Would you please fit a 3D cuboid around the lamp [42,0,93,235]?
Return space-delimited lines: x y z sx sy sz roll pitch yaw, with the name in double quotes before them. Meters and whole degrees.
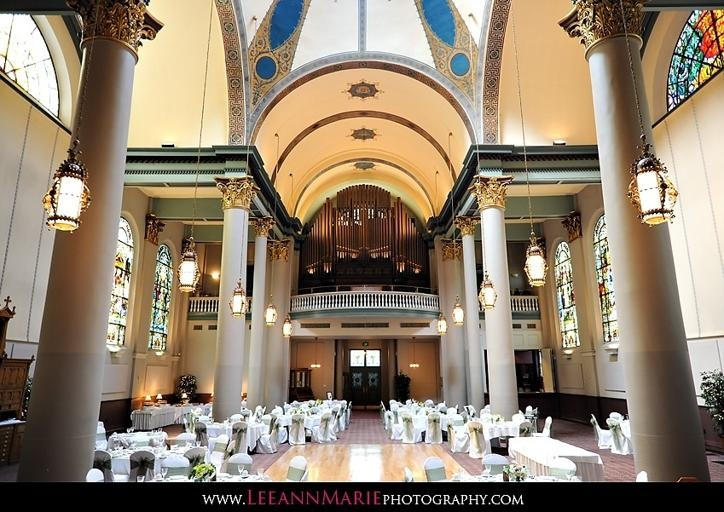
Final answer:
"lamp" -3.929 -1.758 6.504 0.495 3.031 0.893 9 -17 -31
